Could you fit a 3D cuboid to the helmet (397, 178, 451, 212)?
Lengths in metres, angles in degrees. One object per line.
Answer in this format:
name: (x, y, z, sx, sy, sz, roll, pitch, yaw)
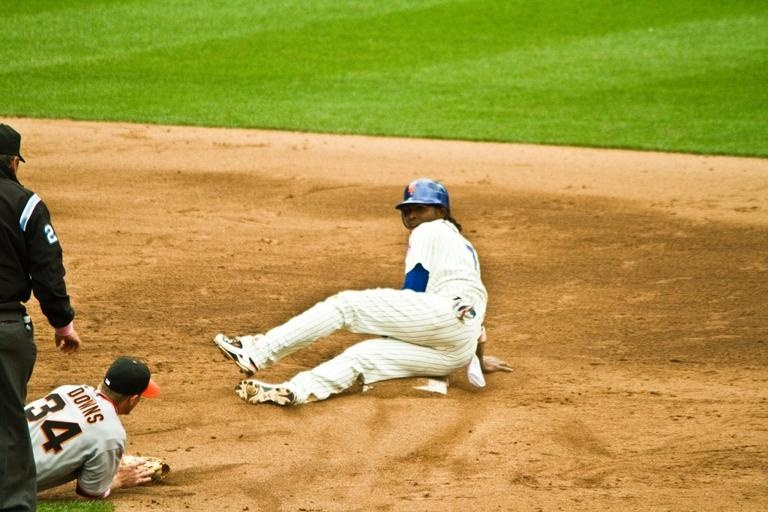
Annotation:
helmet: (0.611, -0.995, 24.710, 0.776, 0.303, 0.559, 3, -7, -26)
